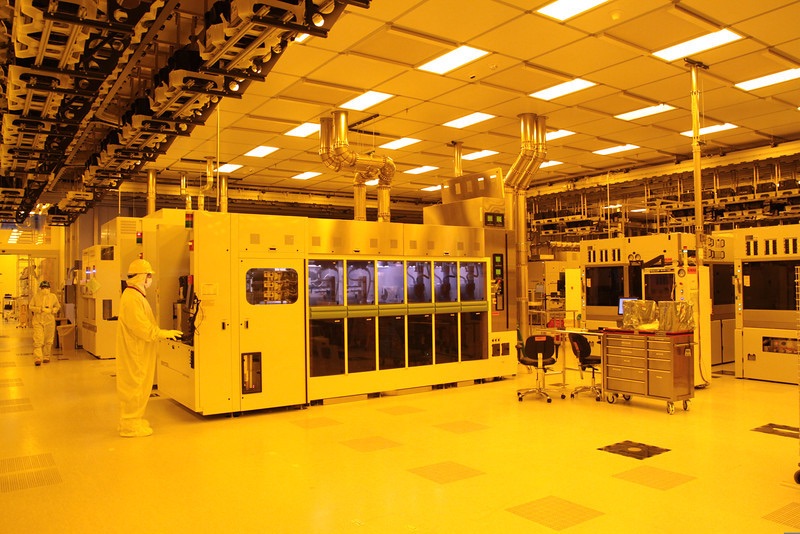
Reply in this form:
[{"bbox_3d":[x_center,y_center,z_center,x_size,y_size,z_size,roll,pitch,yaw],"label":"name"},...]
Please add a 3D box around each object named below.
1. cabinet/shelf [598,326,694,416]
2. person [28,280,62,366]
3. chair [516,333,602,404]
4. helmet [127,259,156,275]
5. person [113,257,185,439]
[{"bbox_3d":[4.276,1.750,10.248,0.630,1.353,1.544,0,0,-44],"label":"cabinet/shelf"},{"bbox_3d":[-8.681,1.329,14.731,0.603,2.013,1.071,-4,6,-31],"label":"person"},{"bbox_3d":[3.002,1.816,11.456,1.768,0.971,1.312,-3,2,-42],"label":"chair"},{"bbox_3d":[-4.135,0.004,9.519,0.444,0.211,0.301,-3,-2,-3],"label":"helmet"},{"bbox_3d":[-3.943,1.218,9.237,0.761,2.612,0.765,-1,5,-4],"label":"person"}]
